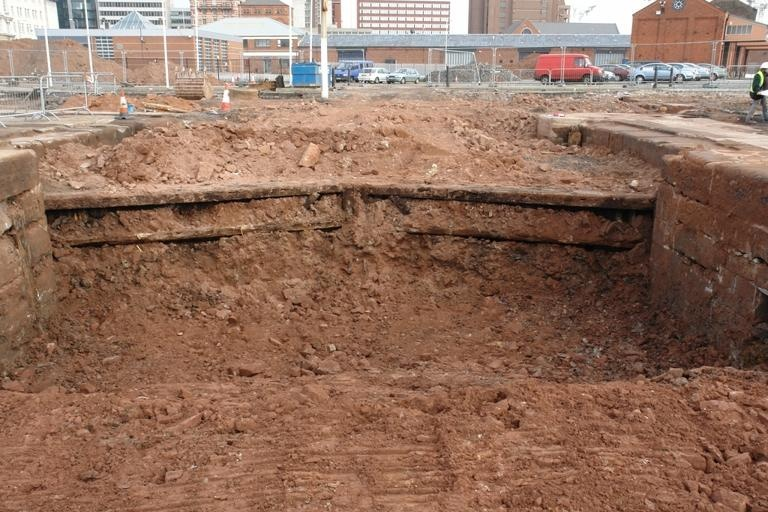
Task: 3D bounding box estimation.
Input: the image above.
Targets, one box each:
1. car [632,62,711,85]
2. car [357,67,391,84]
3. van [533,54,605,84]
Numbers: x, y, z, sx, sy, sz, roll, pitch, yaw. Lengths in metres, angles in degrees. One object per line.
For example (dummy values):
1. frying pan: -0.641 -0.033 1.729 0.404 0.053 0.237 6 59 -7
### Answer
1. car: 12.791 -8.236 29.695 3.312 0.836 3.505 5 16 15
2. car: -0.581 -9.579 35.171 1.218 0.623 1.657 6 38 11
3. van: 8.059 -8.251 29.466 3.327 1.098 1.424 2 33 9
